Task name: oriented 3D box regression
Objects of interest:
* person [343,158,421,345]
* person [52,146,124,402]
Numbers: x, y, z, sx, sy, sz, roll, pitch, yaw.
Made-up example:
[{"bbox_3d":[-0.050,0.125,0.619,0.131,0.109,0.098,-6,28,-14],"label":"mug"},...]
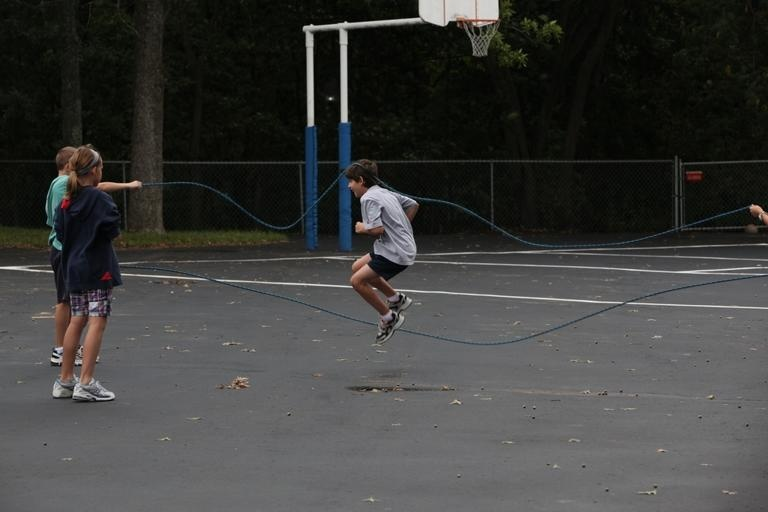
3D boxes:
[{"bbox_3d":[-0.103,-0.050,19.857,1.184,2.863,0.789,3,4,-10],"label":"person"},{"bbox_3d":[-4.180,0.249,17.634,0.957,3.539,0.570,6,5,31],"label":"person"}]
